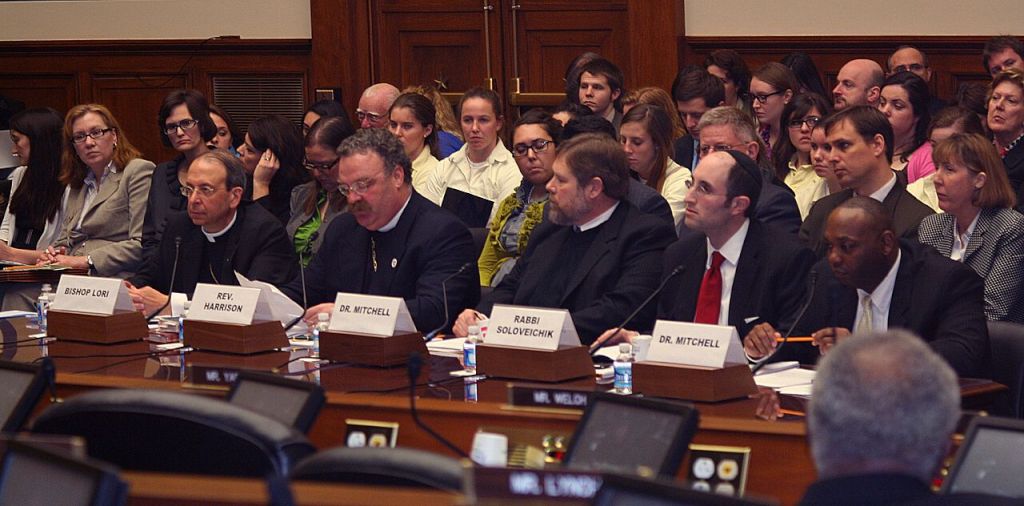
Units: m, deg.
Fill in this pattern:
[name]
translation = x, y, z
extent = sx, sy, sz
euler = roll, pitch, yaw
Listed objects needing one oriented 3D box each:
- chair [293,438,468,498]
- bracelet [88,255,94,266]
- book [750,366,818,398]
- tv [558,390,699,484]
[chair]
translation = -0.348, 0.569, 2.155
extent = 0.489, 0.093, 0.142
euler = 4, 10, 23
[bracelet]
translation = -3.383, 0.058, 6.604
extent = 0.044, 0.073, 0.128
euler = -4, 10, -27
[book]
translation = 1.241, 0.584, 3.753
extent = 0.192, 0.031, 0.197
euler = 6, 16, 35
[tv]
translation = 0.403, 0.651, 2.874
extent = 0.343, 0.275, 0.081
euler = 10, -23, 0
